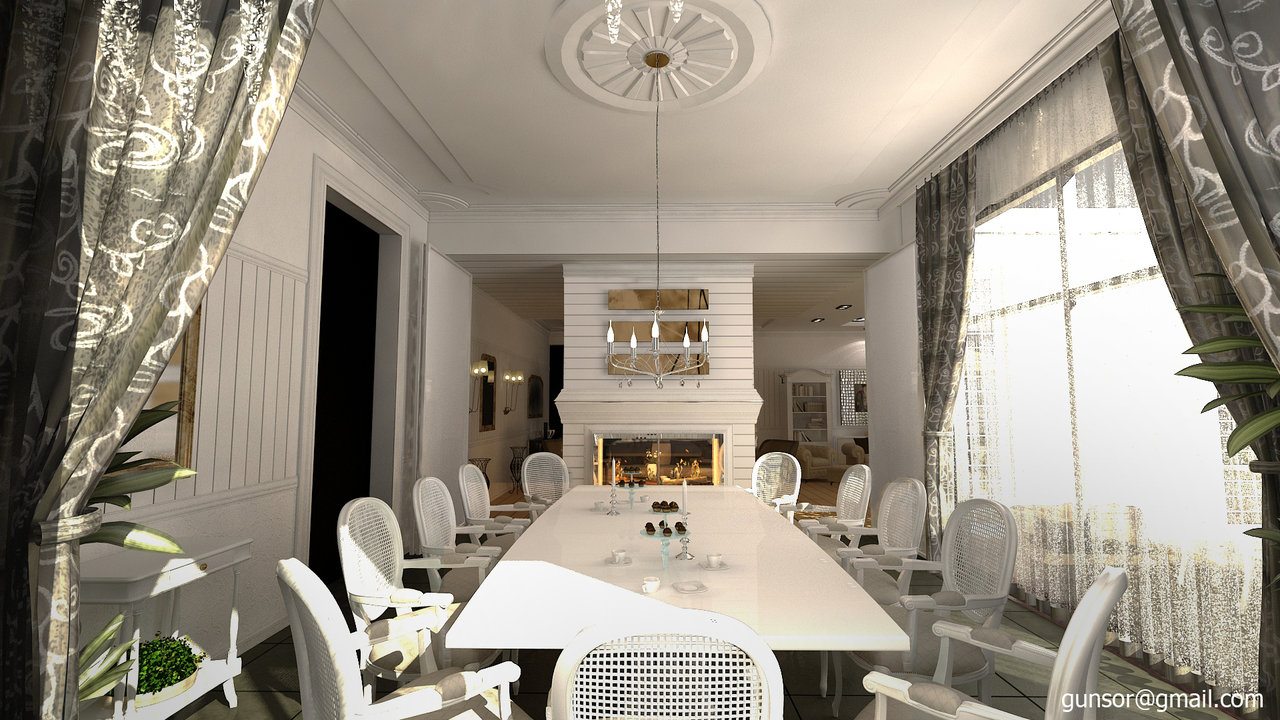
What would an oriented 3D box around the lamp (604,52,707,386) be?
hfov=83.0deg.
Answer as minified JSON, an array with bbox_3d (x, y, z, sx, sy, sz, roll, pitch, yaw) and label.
[{"bbox_3d":[0.181,-1.416,7.926,1.265,3.723,1.253,-1,-2,26],"label":"lamp"}]

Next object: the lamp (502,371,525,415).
[{"bbox_3d":[-2.182,0.554,12.358,0.235,0.790,0.773,-6,-8,19],"label":"lamp"}]

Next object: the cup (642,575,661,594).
[{"bbox_3d":[0.055,1.199,3.856,0.087,0.059,0.065,-4,6,-37],"label":"cup"}]

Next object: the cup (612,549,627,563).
[{"bbox_3d":[-0.117,1.149,4.217,0.081,0.049,0.067,0,-5,-4],"label":"cup"}]

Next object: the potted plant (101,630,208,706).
[{"bbox_3d":[-2.775,1.745,4.204,0.533,0.205,0.463,4,7,-16],"label":"potted plant"}]

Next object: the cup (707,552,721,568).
[{"bbox_3d":[0.423,1.148,4.137,0.077,0.045,0.061,-4,-7,6],"label":"cup"}]
